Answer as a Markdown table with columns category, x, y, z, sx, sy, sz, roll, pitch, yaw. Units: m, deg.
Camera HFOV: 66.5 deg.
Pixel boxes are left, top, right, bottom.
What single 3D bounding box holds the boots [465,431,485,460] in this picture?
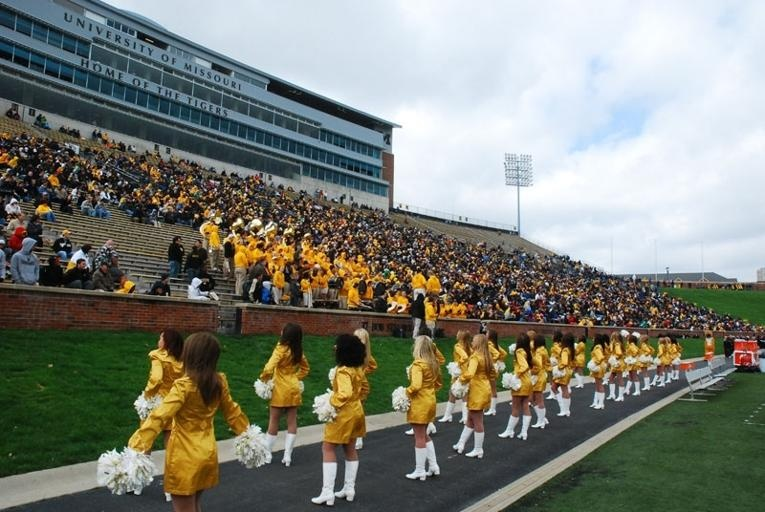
| category | x | y | z | sx | sy | sz | roll | pitch | yaw |
| --- | --- | --- | --- | --- | --- | --- | --- | --- | --- |
| boots | 2.226 | 4.514 | 14.118 | 0.415 | 0.674 | 0.646 | 1 | -5 | 9 |

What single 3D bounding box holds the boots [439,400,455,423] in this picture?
| category | x | y | z | sx | sy | sz | roll | pitch | yaw |
| --- | --- | --- | --- | --- | --- | --- | --- | --- | --- |
| boots | 1.888 | 4.594 | 17.485 | 0.387 | 0.617 | 0.671 | 1 | -5 | 5 |

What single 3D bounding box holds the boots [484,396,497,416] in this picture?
| category | x | y | z | sx | sy | sz | roll | pitch | yaw |
| --- | --- | --- | --- | --- | --- | --- | --- | --- | --- |
| boots | 3.322 | 4.580 | 18.103 | 0.351 | 0.662 | 1.129 | 1 | -5 | 10 |

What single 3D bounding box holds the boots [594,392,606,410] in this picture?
| category | x | y | z | sx | sy | sz | roll | pitch | yaw |
| --- | --- | --- | --- | --- | --- | --- | --- | --- | --- |
| boots | 7.140 | 4.722 | 19.265 | 0.327 | 0.551 | 0.587 | 0 | -5 | 20 |

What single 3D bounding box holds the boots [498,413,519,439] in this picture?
| category | x | y | z | sx | sy | sz | roll | pitch | yaw |
| --- | --- | --- | --- | --- | --- | --- | --- | --- | --- |
| boots | 3.374 | 4.552 | 15.858 | 0.460 | 0.654 | 1.037 | 1 | -5 | 12 |

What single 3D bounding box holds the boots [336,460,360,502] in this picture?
| category | x | y | z | sx | sy | sz | roll | pitch | yaw |
| --- | --- | --- | --- | --- | --- | --- | --- | --- | --- |
| boots | -0.766 | 4.539 | 12.070 | 0.434 | 0.824 | 0.724 | 2 | -5 | -4 |

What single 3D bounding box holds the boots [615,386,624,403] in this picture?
| category | x | y | z | sx | sy | sz | roll | pitch | yaw |
| --- | --- | --- | --- | --- | --- | --- | --- | --- | --- |
| boots | 8.386 | 4.838 | 20.733 | 0.284 | 0.548 | 0.478 | 0 | -5 | 19 |

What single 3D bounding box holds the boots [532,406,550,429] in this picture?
| category | x | y | z | sx | sy | sz | roll | pitch | yaw |
| --- | --- | --- | --- | --- | --- | --- | --- | --- | --- |
| boots | 4.505 | 4.577 | 16.766 | 0.397 | 0.639 | 0.836 | 0 | -6 | 22 |

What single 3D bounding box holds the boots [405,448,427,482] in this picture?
| category | x | y | z | sx | sy | sz | roll | pitch | yaw |
| --- | --- | --- | --- | --- | --- | --- | --- | --- | --- |
| boots | 0.793 | 4.518 | 12.824 | 0.412 | 0.726 | 0.512 | 5 | -6 | -33 |

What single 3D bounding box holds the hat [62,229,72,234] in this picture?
| category | x | y | z | sx | sy | sz | roll | pitch | yaw |
| --- | --- | --- | --- | --- | --- | --- | --- | --- | --- |
| hat | -11.759 | -0.919 | 21.646 | 0.276 | 0.135 | 0.389 | 2 | 2 | -26 |

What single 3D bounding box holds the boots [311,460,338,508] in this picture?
| category | x | y | z | sx | sy | sz | roll | pitch | yaw |
| --- | --- | --- | --- | --- | --- | --- | --- | --- | --- |
| boots | -1.131 | 4.481 | 11.625 | 0.517 | 0.872 | 0.392 | -2 | -7 | 38 |
